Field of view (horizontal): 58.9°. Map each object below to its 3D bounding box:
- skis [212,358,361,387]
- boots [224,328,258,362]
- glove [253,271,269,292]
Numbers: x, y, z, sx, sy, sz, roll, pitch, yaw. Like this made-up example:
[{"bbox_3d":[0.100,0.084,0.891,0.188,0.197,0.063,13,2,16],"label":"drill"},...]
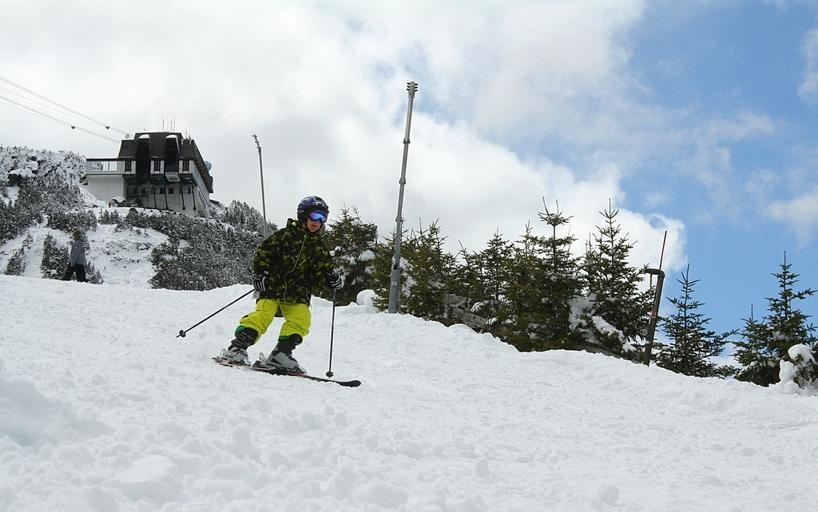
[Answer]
[{"bbox_3d":[-2.360,2.184,13.568,1.809,0.153,0.195,12,21,-3],"label":"skis"},{"bbox_3d":[-3.156,1.662,13.554,0.684,0.629,0.421,2,12,-9],"label":"boots"},{"bbox_3d":[-2.792,0.488,13.806,0.263,0.372,0.153,5,-1,23],"label":"glove"}]
